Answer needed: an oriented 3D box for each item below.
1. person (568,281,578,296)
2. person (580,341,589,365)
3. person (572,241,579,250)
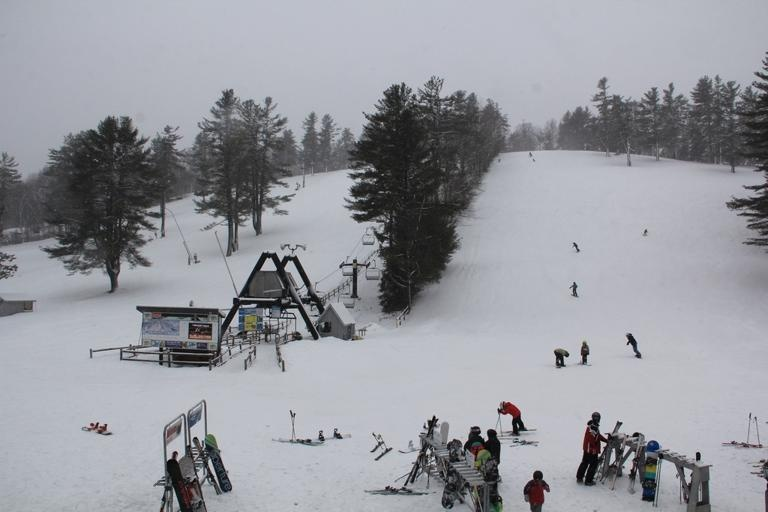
[{"bbox_3d":[18.462,3.232,81.725,0.618,1.630,1.074,-7,8,-31],"label":"person"},{"bbox_3d":[16.640,7.965,69.541,0.593,1.875,0.982,1,5,6],"label":"person"},{"bbox_3d":[20.146,-0.932,87.995,0.650,0.614,0.980,-25,14,11],"label":"person"}]
